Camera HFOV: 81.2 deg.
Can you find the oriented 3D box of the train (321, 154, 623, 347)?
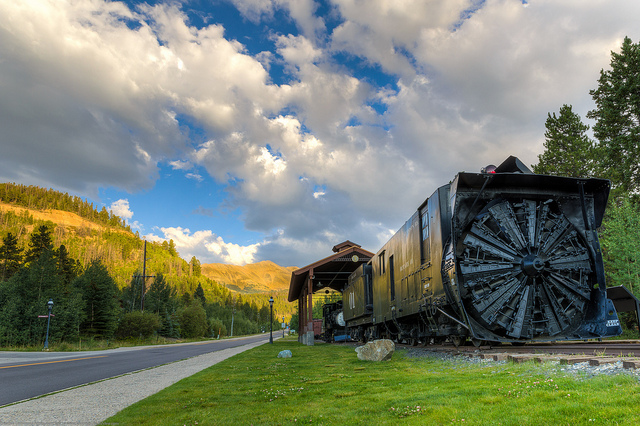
[{"bbox_3d":[6.832,4.205,22.916,5.956,6.874,22.955,-1,-17,-1],"label":"train"}]
